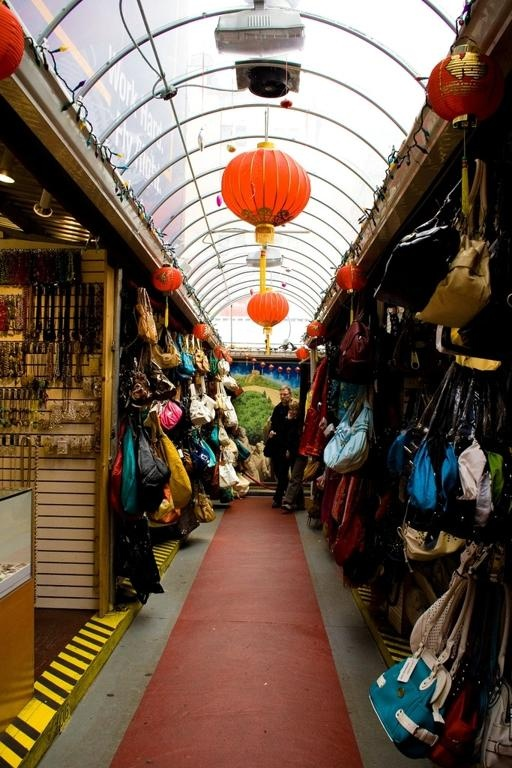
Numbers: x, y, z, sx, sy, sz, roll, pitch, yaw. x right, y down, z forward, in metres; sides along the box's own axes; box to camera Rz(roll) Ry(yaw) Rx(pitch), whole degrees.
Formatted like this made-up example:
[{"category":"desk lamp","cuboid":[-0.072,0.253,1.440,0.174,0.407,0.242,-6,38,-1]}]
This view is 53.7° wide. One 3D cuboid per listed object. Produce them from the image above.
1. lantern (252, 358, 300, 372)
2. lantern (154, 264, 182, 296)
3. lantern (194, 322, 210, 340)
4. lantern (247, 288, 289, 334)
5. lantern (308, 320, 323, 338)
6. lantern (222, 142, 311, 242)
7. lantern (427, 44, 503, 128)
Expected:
[{"category":"lantern","cuboid":[0.431,-0.426,11.942,1.107,0.346,0.202,1,-4,-1]},{"category":"lantern","cuboid":[-0.775,-0.949,4.528,0.242,0.290,0.254,-2,15,-23]},{"category":"lantern","cuboid":[-0.719,-0.723,6.758,0.174,0.244,0.227,1,3,1]},{"category":"lantern","cuboid":[0.100,-1.091,7.474,0.575,0.705,0.608,3,10,24]},{"category":"lantern","cuboid":[0.806,-0.764,6.912,0.188,0.237,0.202,1,10,4]},{"category":"lantern","cuboid":[0.033,-1.267,3.608,0.524,0.681,0.586,1,-2,-8]},{"category":"lantern","cuboid":[0.569,-0.790,1.441,0.192,0.244,0.190,11,13,37]}]
